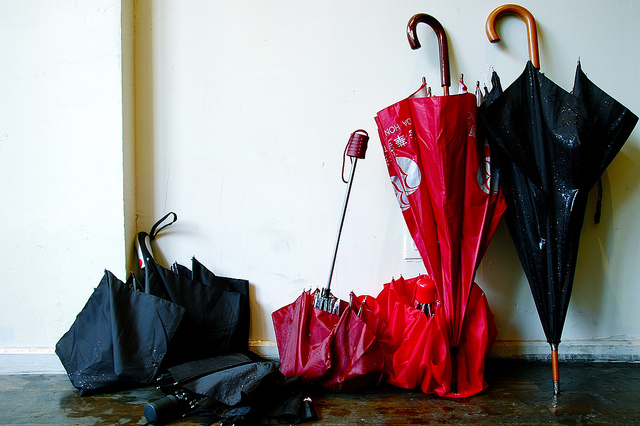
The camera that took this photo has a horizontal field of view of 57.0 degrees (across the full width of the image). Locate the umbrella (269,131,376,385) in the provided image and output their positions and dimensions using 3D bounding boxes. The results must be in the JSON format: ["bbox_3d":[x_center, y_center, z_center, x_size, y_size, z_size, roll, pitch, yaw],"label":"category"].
[{"bbox_3d":[-0.013,0.202,2.787,0.492,1.056,0.338,-3,-1,1],"label":"umbrella"}]

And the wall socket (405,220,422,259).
[{"bbox_3d":[0.446,0.129,2.824,0.130,0.193,0.048,2,0,7],"label":"wall socket"}]

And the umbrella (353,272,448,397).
[{"bbox_3d":[0.388,0.507,2.790,0.479,0.225,0.486,-11,19,-42],"label":"umbrella"}]

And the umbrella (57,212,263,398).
[{"bbox_3d":[-0.888,0.486,2.945,0.939,0.743,0.790,-11,-8,27],"label":"umbrella"}]

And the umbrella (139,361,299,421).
[{"bbox_3d":[-0.407,0.791,2.530,0.434,0.156,0.314,-1,-4,-25],"label":"umbrella"}]
